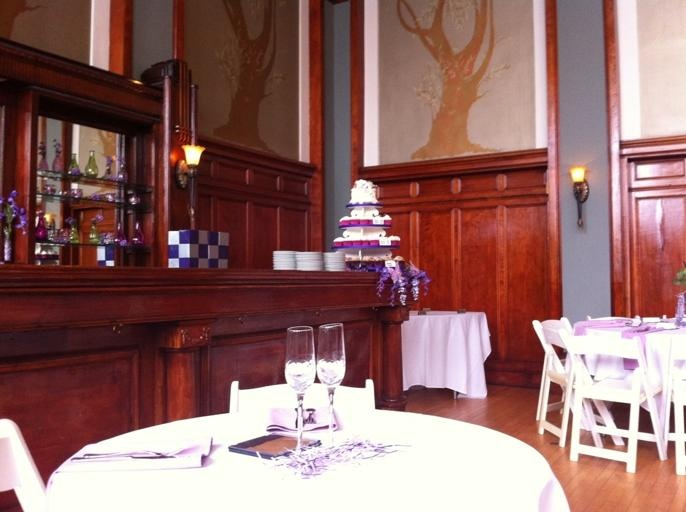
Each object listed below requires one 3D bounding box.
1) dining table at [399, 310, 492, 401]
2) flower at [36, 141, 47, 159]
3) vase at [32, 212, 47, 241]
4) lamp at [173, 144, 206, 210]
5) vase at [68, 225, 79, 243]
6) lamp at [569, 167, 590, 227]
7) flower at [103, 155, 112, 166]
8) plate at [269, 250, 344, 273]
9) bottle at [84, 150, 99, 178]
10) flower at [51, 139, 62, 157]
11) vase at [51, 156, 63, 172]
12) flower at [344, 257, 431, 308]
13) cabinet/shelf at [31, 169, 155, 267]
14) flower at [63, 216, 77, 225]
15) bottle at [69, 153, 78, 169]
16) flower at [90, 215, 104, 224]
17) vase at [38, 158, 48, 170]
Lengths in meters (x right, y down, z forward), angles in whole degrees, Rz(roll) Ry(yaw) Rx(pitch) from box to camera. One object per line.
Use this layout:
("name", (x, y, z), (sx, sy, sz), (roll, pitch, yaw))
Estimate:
("dining table", (1.122, 1.058, 6.129), (0.886, 0.796, 0.987), (-2, -1, 9))
("flower", (-2.480, -0.880, 4.569), (0.029, 0.131, 0.084), (4, 10, 19))
("vase", (-2.468, -0.248, 4.518), (0.087, 0.234, 0.144), (-3, 10, -23))
("lamp", (-1.597, -0.826, 5.676), (0.279, 0.650, 0.136), (-2, 10, -20))
("vase", (-2.313, -0.194, 4.751), (0.035, 0.150, 0.102), (3, 10, 8))
("lamp", (2.782, -0.710, 6.578), (0.145, 0.722, 0.189), (-5, 11, -34))
("flower", (-2.153, -0.881, 5.065), (0.037, 0.075, 0.053), (-3, -8, 11))
("plate", (-0.211, 0.052, 4.099), (0.569, 0.165, 0.322), (-2, 11, -21))
("bottle", (-2.220, -0.822, 4.880), (0.083, 0.230, 0.172), (0, 10, -6))
("flower", (-2.417, -0.924, 4.677), (0.049, 0.127, 0.161), (-1, 15, -8))
("vase", (-2.395, -0.775, 4.653), (0.052, 0.115, 0.113), (4, 10, 16))
("flower", (0.376, 0.177, 4.416), (0.440, 0.338, 0.459), (12, -2, 28))
("cabinet/shelf", (-2.201, -0.307, 4.934), (0.284, 0.921, 1.200), (6, 11, 26))
("flower", (-2.335, -0.306, 4.736), (0.053, 0.077, 0.059), (2, -7, -17))
("bottle", (-2.315, -0.819, 4.762), (0.059, 0.135, 0.078), (-2, 10, -19))
("flower", (-2.230, -0.338, 4.985), (0.073, 0.047, 0.109), (1, 2, -14))
("vase", (-2.467, -0.769, 4.554), (0.061, 0.102, 0.051), (-5, 11, -32))
